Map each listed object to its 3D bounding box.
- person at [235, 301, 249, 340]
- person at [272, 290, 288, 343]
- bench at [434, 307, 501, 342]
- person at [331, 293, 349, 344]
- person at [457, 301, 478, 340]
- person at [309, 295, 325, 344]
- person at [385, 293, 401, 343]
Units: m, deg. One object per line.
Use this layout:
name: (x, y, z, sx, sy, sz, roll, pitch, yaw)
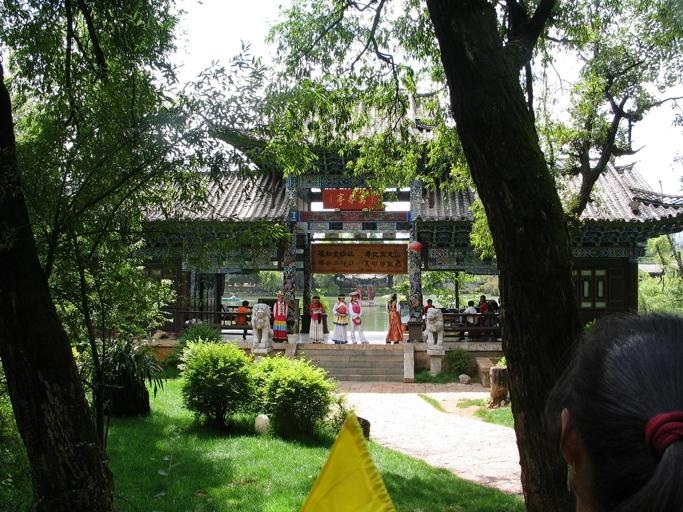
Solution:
person: (-2.515, 1.622, 16.171, 0.337, 1.035, 1.948, 1, -8, -9)
person: (-1.462, 1.436, 15.054, 0.366, 1.197, 0.621, 1, -7, -7)
bench: (3.230, 1.715, 16.063, 1.317, 0.942, 3.251, -2, -8, 9)
person: (-0.023, 1.474, 14.658, 0.364, 1.101, 1.049, 0, -7, 0)
person: (3.280, 1.615, 16.309, 0.351, 1.028, 0.519, -4, 6, -10)
person: (-0.590, 1.485, 14.993, 0.305, 1.112, 0.596, 0, -7, -5)
person: (1.190, 1.438, 14.643, 0.362, 1.169, 1.096, -1, -7, 3)
